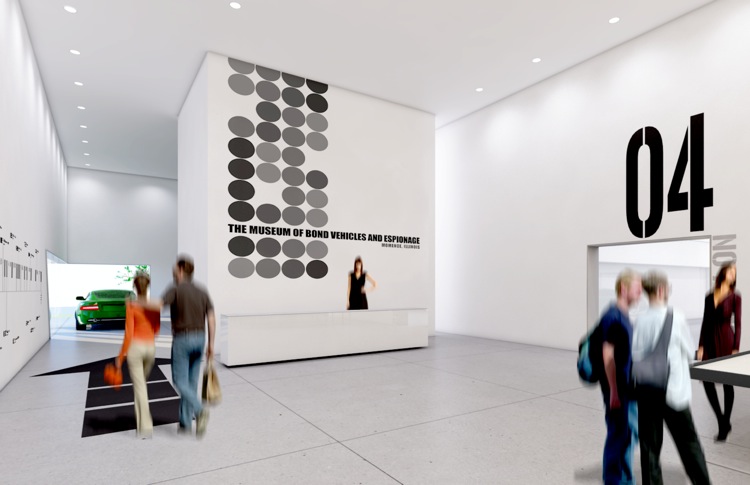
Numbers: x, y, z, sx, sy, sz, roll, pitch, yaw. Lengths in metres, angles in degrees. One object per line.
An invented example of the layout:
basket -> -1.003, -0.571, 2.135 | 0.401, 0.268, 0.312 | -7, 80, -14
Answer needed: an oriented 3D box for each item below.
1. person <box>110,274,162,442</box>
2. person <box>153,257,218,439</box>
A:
person -> -3.160, 1.475, 6.055 | 0.614, 2.115, 0.553 | -3, 5, -32
person -> -2.494, 1.366, 6.135 | 0.678, 2.345, 0.482 | -2, 5, -26
